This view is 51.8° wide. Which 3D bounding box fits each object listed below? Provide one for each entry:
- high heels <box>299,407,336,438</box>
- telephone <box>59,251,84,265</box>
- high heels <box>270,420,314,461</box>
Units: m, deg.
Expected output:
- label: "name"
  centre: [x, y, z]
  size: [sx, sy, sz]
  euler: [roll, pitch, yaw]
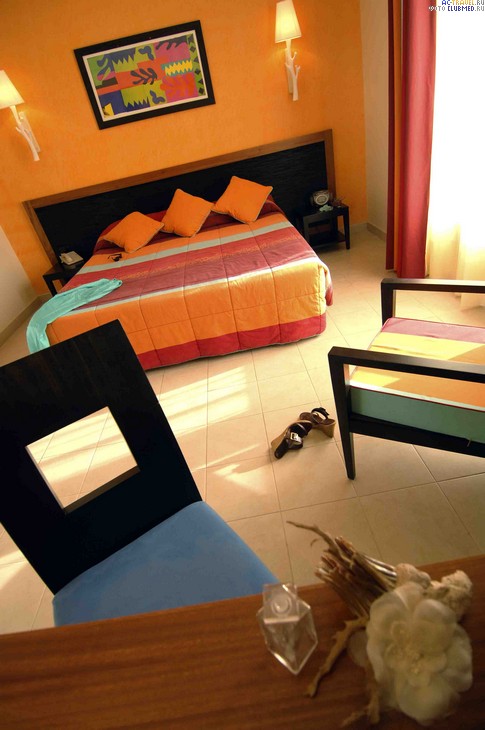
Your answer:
- label: "high heels"
  centre: [0.349, 0.250, 2.252]
  size: [0.090, 0.069, 0.171]
  euler: [-12, 33, -19]
- label: "telephone"
  centre: [-1.547, -0.983, 4.463]
  size: [0.166, 0.058, 0.168]
  euler: [-13, 46, -28]
- label: "high heels"
  centre: [0.219, 0.318, 2.180]
  size: [0.092, 0.085, 0.257]
  euler: [2, 47, 53]
